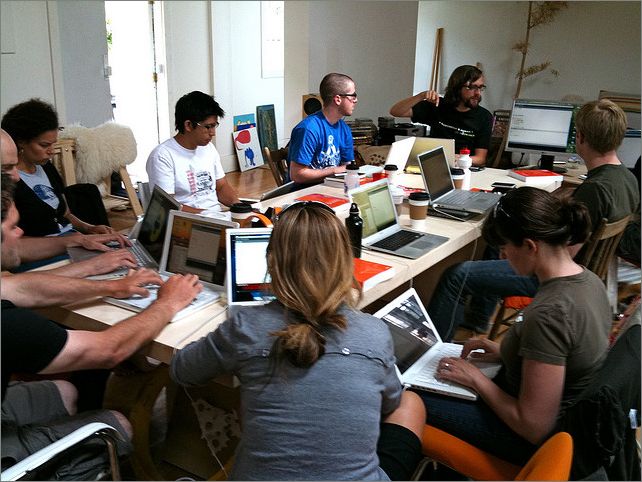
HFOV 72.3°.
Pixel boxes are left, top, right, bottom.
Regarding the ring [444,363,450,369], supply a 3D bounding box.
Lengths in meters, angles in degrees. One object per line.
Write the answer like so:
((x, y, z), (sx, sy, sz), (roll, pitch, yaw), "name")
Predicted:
((0.505, 0.502, 1.766), (0.015, 0.022, 0.023), (16, 12, 26), "ring")

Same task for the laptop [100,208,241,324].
((-0.607, 0.060, 1.855), (0.521, 0.368, 0.458), (15, 30, 37), "laptop")

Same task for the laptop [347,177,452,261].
((0.396, -0.088, 2.469), (0.493, 0.333, 0.513), (17, 27, 32), "laptop")

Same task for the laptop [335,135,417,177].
((0.510, -0.745, 3.734), (0.470, 0.298, 0.505), (14, 26, 30), "laptop")

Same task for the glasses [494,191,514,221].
((0.679, -0.121, 1.653), (0.040, 0.114, 0.118), (-8, 10, 22), "glasses")

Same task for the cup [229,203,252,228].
((-0.394, -0.134, 2.190), (0.112, 0.101, 0.111), (1, 21, -1), "cup")

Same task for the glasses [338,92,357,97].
((0.240, -1.230, 3.712), (0.075, 0.040, 0.188), (17, 26, 36), "glasses")

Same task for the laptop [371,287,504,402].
((0.468, 0.451, 1.875), (0.422, 0.266, 0.453), (10, 23, 30), "laptop")

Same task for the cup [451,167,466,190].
((1.039, -0.480, 3.398), (0.142, 0.132, 0.139), (0, 19, 0), "cup")
